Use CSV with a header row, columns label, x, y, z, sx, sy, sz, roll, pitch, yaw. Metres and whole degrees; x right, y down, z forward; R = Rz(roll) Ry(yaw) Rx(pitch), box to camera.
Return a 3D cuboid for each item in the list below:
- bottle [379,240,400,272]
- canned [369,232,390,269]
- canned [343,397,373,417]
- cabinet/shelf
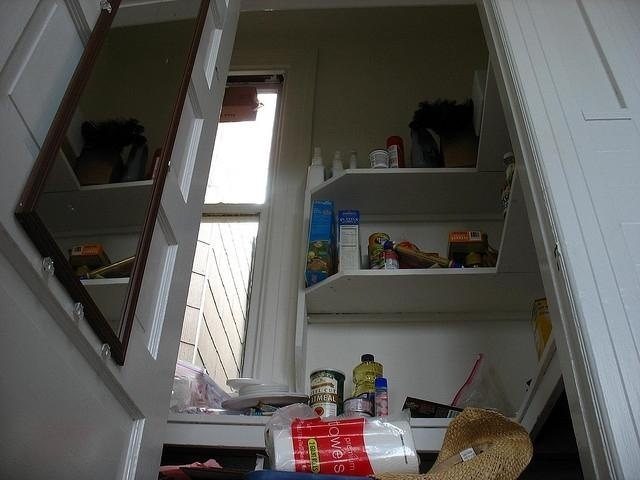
label,x,y,z,sx,sy,sz,roll,pitch,yaw
bottle,0.286,0.059,1.792,0.069,0.115,0.128,1,-1,9
canned,0.248,0.049,1.854,0.082,0.153,0.084,-19,-34,40
canned,0.108,0.476,1.245,0.068,0.051,0.055,-14,-24,30
cabinet/shelf,0.490,-0.131,1.980,1.005,1.032,0.256,2,-14,-11
